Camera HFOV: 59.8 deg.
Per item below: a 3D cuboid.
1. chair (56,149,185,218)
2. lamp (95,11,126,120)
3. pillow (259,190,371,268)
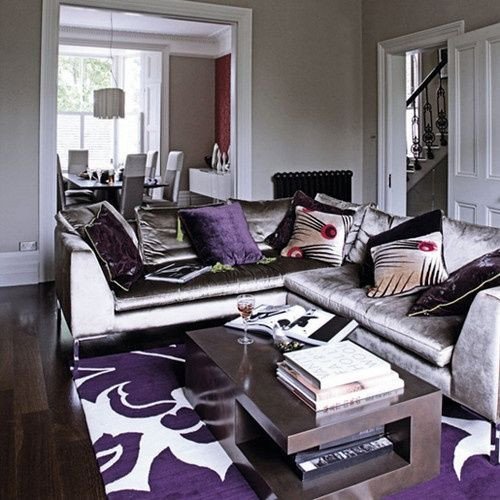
[{"bbox_3d":[-1.675,-0.776,5.573,1.328,0.855,1.319,-7,18,-26],"label":"chair"},{"bbox_3d":[-2.462,-3.049,7.572,0.468,1.721,2.386,-3,9,-16],"label":"lamp"},{"bbox_3d":[0.477,-0.150,3.386,0.591,0.559,0.180,18,-6,39],"label":"pillow"}]
